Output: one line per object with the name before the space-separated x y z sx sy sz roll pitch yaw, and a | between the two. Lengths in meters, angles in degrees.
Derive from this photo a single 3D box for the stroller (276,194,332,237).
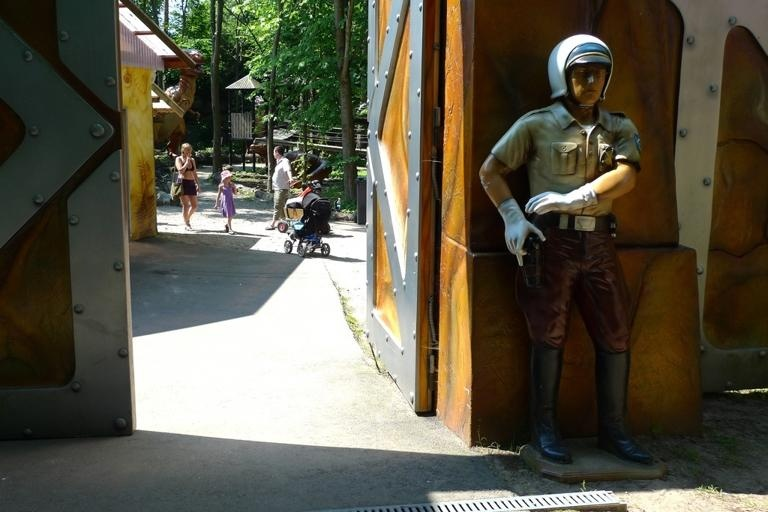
stroller | -1.525 -0.873 13.541 0.863 0.969 0.881 7 8 30

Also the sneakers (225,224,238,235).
sneakers | -3.402 -0.632 15.839 0.127 0.191 0.397 -3 6 -21

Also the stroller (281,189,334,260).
stroller | -1.550 -0.684 13.566 0.802 1.754 1.240 -1 8 -27

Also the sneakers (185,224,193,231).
sneakers | -4.304 -0.642 15.790 0.091 0.119 0.173 0 -9 -4

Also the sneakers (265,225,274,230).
sneakers | -2.634 -0.683 16.508 0.227 0.119 0.094 1 8 5

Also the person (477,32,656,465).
person | 1.362 -0.063 5.218 1.118 3.023 0.626 0 9 1

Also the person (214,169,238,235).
person | -3.564 -1.297 16.229 0.402 1.355 1.662 -2 12 -12
